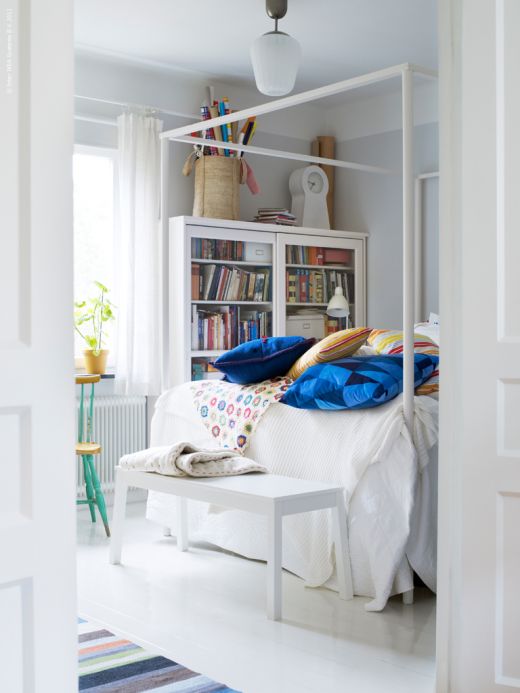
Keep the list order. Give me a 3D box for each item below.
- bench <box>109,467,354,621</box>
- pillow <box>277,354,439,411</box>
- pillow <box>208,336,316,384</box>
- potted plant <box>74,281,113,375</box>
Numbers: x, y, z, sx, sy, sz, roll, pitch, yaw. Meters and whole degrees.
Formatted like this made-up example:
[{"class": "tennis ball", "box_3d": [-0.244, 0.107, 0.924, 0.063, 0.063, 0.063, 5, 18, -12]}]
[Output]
[{"class": "bench", "box_3d": [-0.224, 0.803, 2.551, 1.235, 0.489, 0.611, -3, -5, 27]}, {"class": "pillow", "box_3d": [0.428, 0.161, 2.577, 0.348, 0.132, 0.406, -10, 3, 1]}, {"class": "pillow", "box_3d": [0.021, 0.068, 3.119, 0.323, 0.182, 0.343, -18, -7, 10]}, {"class": "potted plant", "box_3d": [-1.185, -0.124, 4.160, 0.272, 0.675, 0.410, 1, -4, -16]}]
